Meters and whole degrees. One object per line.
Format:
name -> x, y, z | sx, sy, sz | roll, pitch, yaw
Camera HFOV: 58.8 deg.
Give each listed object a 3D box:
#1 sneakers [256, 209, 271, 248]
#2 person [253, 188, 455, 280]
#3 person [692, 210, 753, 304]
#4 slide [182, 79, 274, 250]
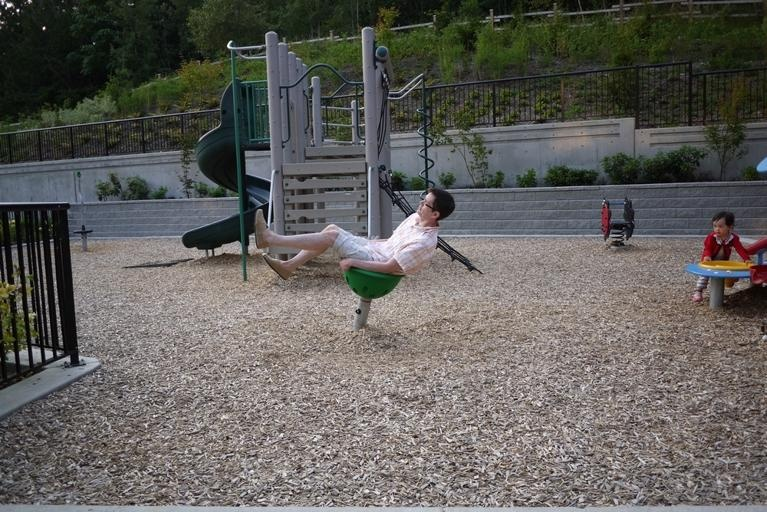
sneakers -> -1.461, -0.324, 8.087 | 0.204, 0.462, 0.175 | -7, -8, 37
person -> -0.255, -0.304, 7.821 | 2.248, 0.955, 1.050 | 1, 17, 4
person -> 4.372, 0.023, 8.718 | 0.784, 1.098, 0.807 | -5, 7, -40
slide -> -3.104, -1.574, 13.344 | 1.709, 3.311, 3.553 | -5, 11, -12
